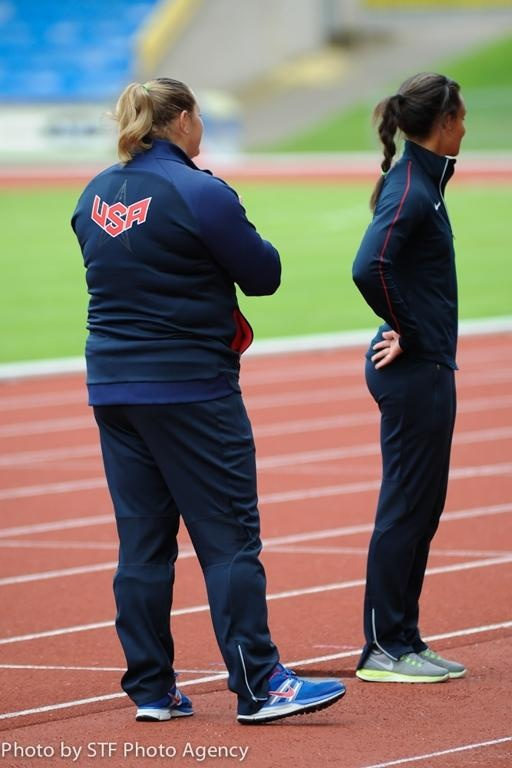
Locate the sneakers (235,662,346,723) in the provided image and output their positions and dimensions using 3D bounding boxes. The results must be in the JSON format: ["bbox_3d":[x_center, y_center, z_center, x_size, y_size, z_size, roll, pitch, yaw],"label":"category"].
[{"bbox_3d":[0.097,0.765,2.159,0.345,0.154,0.107,-8,-14,3],"label":"sneakers"}]

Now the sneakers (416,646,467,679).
[{"bbox_3d":[0.541,0.801,2.496,0.147,0.050,0.047,17,1,18],"label":"sneakers"}]

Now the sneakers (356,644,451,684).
[{"bbox_3d":[0.425,0.816,2.512,0.272,0.095,0.088,-1,-6,11],"label":"sneakers"}]

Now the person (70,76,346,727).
[{"bbox_3d":[-0.156,0.053,2.120,0.641,1.601,0.265,-1,5,6],"label":"person"}]

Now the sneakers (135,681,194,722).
[{"bbox_3d":[-0.222,0.817,2.214,0.069,0.069,0.174,4,5,34],"label":"sneakers"}]

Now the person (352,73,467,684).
[{"bbox_3d":[0.433,-0.010,2.458,0.322,1.743,0.286,-1,5,11],"label":"person"}]
